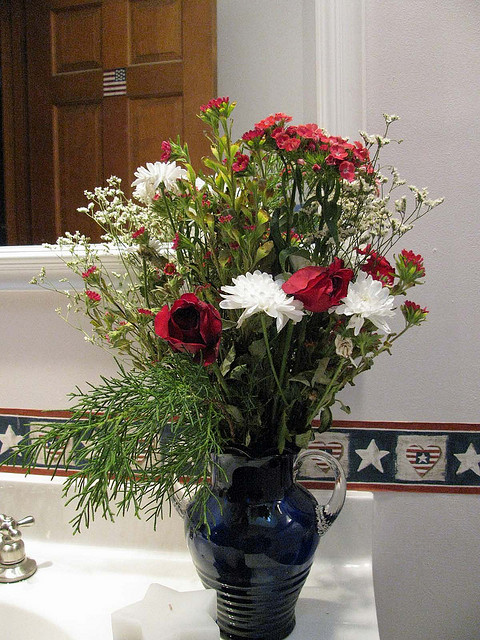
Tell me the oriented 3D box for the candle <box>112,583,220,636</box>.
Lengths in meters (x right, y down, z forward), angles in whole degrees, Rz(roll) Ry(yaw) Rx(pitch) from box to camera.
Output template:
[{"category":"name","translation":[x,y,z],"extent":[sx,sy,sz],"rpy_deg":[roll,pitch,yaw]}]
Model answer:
[{"category":"candle","translation":[-0.071,0.295,0.628],"extent":[0.068,0.018,0.065],"rpy_deg":[-8,16,-38]}]

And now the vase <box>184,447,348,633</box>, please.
[{"category":"vase","translation":[0.032,0.256,0.708],"extent":[0.188,0.246,0.090],"rpy_deg":[0,10,-5]}]
